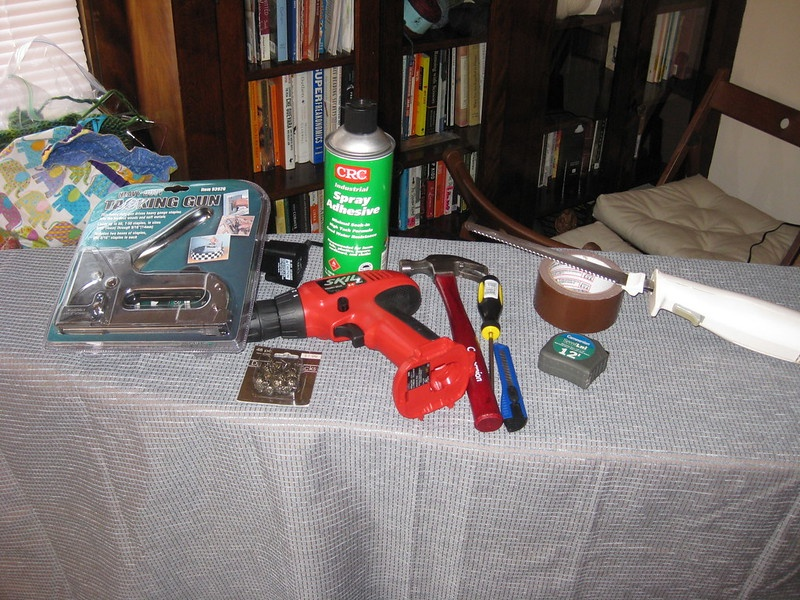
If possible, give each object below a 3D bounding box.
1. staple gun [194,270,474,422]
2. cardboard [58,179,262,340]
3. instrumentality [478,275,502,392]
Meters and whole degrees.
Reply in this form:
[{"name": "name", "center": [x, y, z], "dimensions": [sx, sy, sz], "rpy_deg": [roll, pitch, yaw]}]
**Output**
[{"name": "staple gun", "center": [-0.042, 0.047, 0.984], "dimensions": [0.342, 0.118, 0.201], "rpy_deg": [17, 43, 21]}, {"name": "cardboard", "center": [-0.376, -0.064, 1.034], "dimensions": [0.283, 0.040, 0.310], "rpy_deg": [0, 56, 5]}, {"name": "instrumentality", "center": [0.145, 0.050, 1.019], "dimensions": [0.033, 0.033, 0.217], "rpy_deg": [-21, 49, 31]}]
